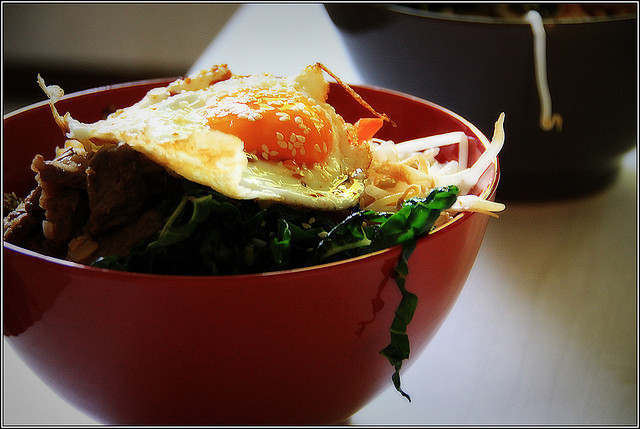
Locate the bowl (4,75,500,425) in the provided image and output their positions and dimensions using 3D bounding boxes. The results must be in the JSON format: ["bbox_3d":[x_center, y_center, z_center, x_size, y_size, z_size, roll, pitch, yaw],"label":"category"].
[{"bbox_3d":[-0.226,0.098,1.085,0.867,0.674,0.563,-21,53,-22],"label":"bowl"}]

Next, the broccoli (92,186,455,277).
[{"bbox_3d":[-0.060,0.004,0.764,0.498,0.117,0.146,2,29,-1],"label":"broccoli"}]
